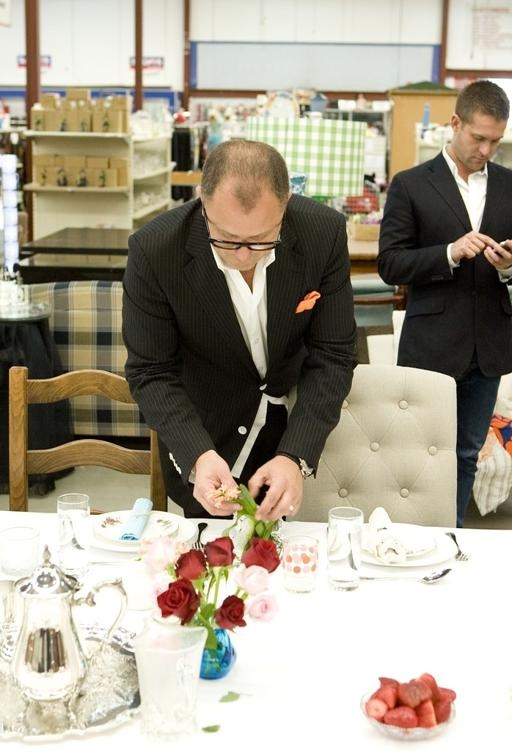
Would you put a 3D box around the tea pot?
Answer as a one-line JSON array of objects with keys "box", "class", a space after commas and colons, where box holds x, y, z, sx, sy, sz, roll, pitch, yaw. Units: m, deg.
[{"box": [-0.228, 0.296, 0.708, 0.151, 0.190, 0.100, -2, 14, -17], "class": "tea pot"}]

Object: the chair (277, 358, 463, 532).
[{"box": [0.340, 0.165, 1.786, 0.365, 0.646, 0.445, 10, 2, 5], "class": "chair"}]

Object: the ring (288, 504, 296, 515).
[{"box": [0.067, 0.248, 1.121, 0.006, 0.020, 0.015, 10, -4, 1], "class": "ring"}]

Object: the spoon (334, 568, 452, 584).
[{"box": [0.240, 0.351, 1.061, 0.157, 0.023, 0.027, -4, 23, 4], "class": "spoon"}]

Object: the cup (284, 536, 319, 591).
[{"box": [0.075, 0.313, 1.005, 0.072, 0.094, 0.090, 0, 8, 0], "class": "cup"}]

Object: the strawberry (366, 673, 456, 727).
[{"box": [0.164, 0.346, 0.641, 0.052, 0.024, 0.059, 0, 8, 6], "class": "strawberry"}]

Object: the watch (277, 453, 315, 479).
[{"box": [0.089, 0.188, 1.314, 0.031, 0.048, 0.063, -47, 31, -22], "class": "watch"}]
